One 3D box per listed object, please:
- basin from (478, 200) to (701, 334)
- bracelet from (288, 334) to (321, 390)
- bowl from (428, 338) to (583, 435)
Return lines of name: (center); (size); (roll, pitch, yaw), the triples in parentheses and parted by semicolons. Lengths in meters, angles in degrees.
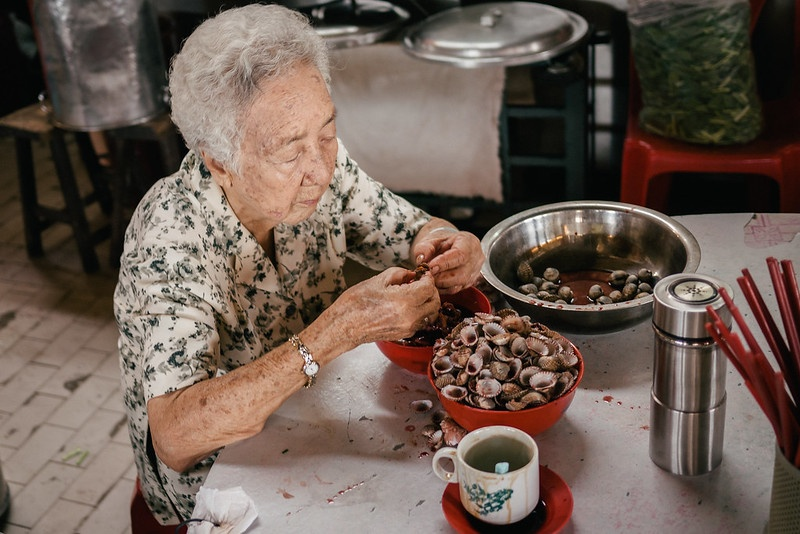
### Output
basin: (0.563, 0.020, 2.098); (0.609, 0.208, 0.602); (-6, 31, 3)
bracelet: (-0.261, 0.250, 1.862); (0.072, 0.118, 0.103); (-34, 49, -19)
bowl: (0.286, 0.359, 1.766); (0.394, 0.176, 0.244); (-8, 31, 0)
